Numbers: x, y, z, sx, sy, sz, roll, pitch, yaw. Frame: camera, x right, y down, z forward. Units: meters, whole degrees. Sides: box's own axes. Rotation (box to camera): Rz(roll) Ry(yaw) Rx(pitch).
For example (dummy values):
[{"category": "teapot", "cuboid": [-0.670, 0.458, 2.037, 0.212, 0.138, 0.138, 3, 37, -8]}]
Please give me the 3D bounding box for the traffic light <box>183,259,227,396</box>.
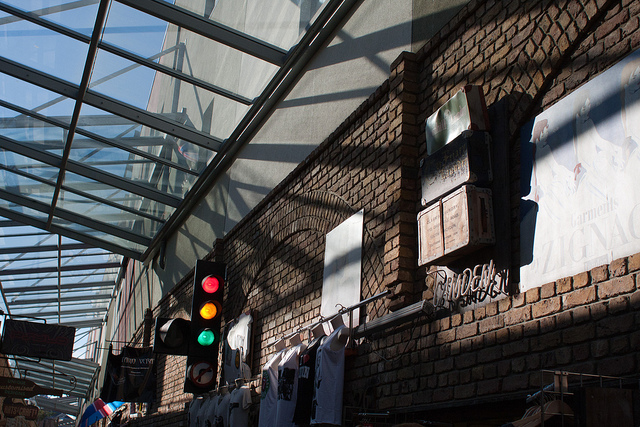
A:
[{"category": "traffic light", "cuboid": [-1.852, 1.886, 11.603, 0.532, 2.282, 0.548, 4, -28, -10]}]
